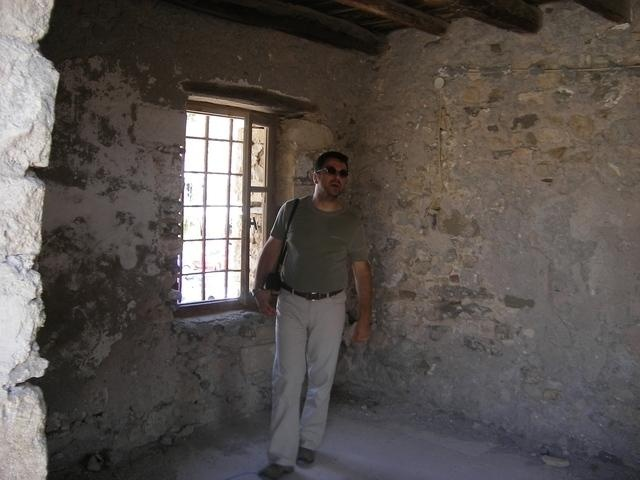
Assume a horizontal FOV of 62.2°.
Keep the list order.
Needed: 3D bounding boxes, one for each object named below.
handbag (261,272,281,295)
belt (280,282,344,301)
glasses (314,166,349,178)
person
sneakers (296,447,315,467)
[{"bbox_3d":[-0.288,0.250,3.090,0.086,0.113,0.119,3,-26,-9],"label":"handbag"},{"bbox_3d":[-0.050,0.291,2.960,0.345,0.066,0.101,2,9,0],"label":"belt"},{"bbox_3d":[0.062,-0.384,3.017,0.091,0.029,0.091,7,-6,-31],"label":"glasses"},{"bbox_3d":[-0.092,0.375,3.062,0.757,1.745,0.459,-6,12,-38],"label":"person"},{"bbox_3d":[-0.084,1.218,2.987,0.102,0.072,0.183,4,-16,-4],"label":"sneakers"}]
